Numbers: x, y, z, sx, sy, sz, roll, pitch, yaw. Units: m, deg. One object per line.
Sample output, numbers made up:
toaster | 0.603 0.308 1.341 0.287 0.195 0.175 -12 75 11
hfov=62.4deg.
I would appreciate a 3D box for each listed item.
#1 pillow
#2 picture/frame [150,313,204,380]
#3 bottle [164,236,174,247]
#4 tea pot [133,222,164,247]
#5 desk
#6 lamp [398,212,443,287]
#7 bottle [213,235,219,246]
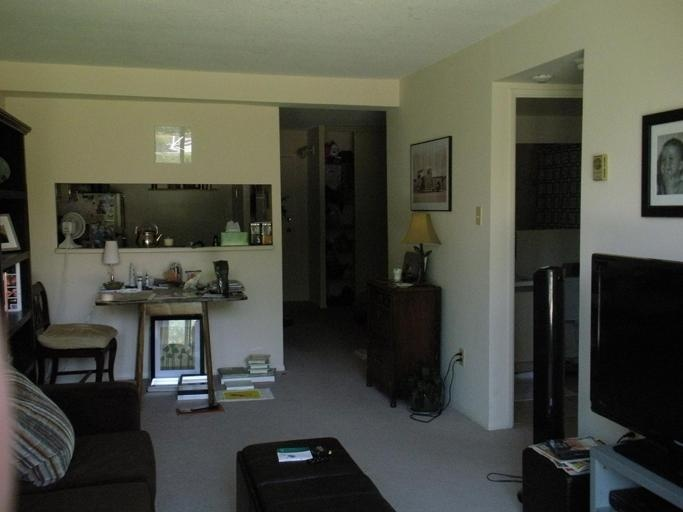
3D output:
pillow | -1.551 0.876 2.936 0.284 0.488 0.427 -5 8 -30
picture/frame | -1.619 0.862 5.456 0.651 0.878 0.060 0 -1 -7
bottle | -1.763 -0.153 5.723 0.086 0.097 0.087 2 2 -27
tea pot | -1.954 -0.205 5.660 0.253 0.239 0.179 -2 7 -22
desk | -1.595 0.952 5.359 1.438 1.372 1.010 0 -1 -19
lamp | 0.721 -0.089 5.365 0.332 0.658 0.585 -1 7 -6
bottle | -1.308 -0.167 5.835 0.070 0.104 0.020 -2 8 -11
